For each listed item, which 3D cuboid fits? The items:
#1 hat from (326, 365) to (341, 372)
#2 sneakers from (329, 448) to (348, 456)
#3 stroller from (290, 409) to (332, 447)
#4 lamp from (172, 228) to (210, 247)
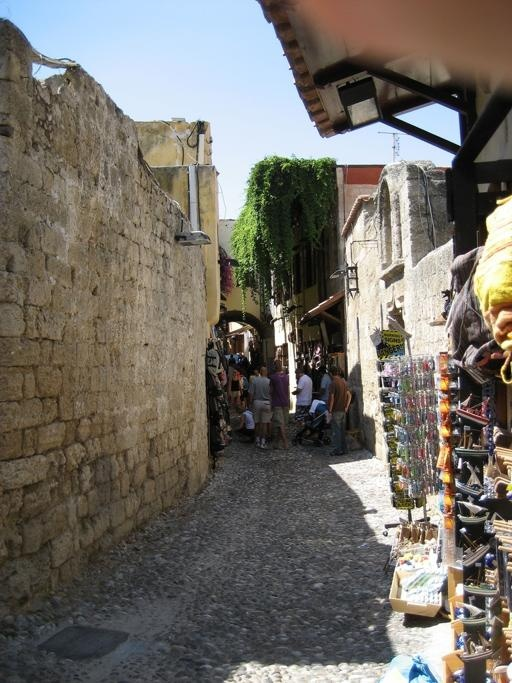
[{"bbox_3d":[1.458,0.548,10.552,0.165,0.173,0.705,0,-4,10],"label":"hat"},{"bbox_3d":[1.535,2.018,10.355,0.311,0.173,0.126,-1,0,2],"label":"sneakers"},{"bbox_3d":[1.151,1.833,11.808,0.747,0.865,0.596,2,-4,-4],"label":"stroller"},{"bbox_3d":[-0.732,-1.206,6.601,0.296,0.114,0.233,-2,0,10],"label":"lamp"}]
